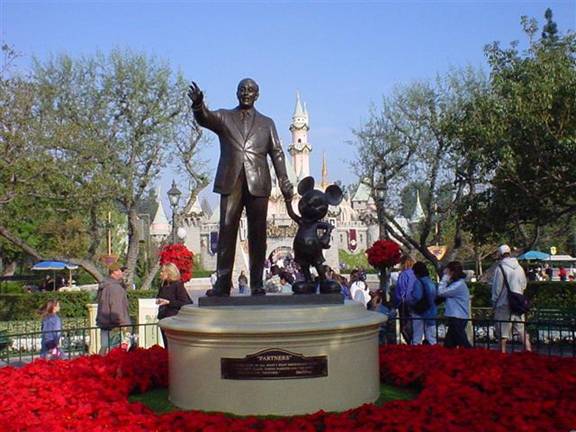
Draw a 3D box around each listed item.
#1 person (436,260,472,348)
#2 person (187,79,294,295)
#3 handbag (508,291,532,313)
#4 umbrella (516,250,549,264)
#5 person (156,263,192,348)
[{"bbox_3d":[2.878,1.524,11.404,0.534,1.458,0.953,-2,-2,14],"label":"person"},{"bbox_3d":[-0.629,-0.420,9.180,1.467,3.002,0.473,0,-2,-24],"label":"person"},{"bbox_3d":[4.175,1.579,11.847,0.382,0.421,0.230,-2,-2,22],"label":"handbag"},{"bbox_3d":[11.561,1.941,31.028,1.651,0.607,1.694,-1,7,13],"label":"umbrella"},{"bbox_3d":[-2.072,1.339,11.645,0.636,0.989,0.626,-2,-2,16],"label":"person"}]
